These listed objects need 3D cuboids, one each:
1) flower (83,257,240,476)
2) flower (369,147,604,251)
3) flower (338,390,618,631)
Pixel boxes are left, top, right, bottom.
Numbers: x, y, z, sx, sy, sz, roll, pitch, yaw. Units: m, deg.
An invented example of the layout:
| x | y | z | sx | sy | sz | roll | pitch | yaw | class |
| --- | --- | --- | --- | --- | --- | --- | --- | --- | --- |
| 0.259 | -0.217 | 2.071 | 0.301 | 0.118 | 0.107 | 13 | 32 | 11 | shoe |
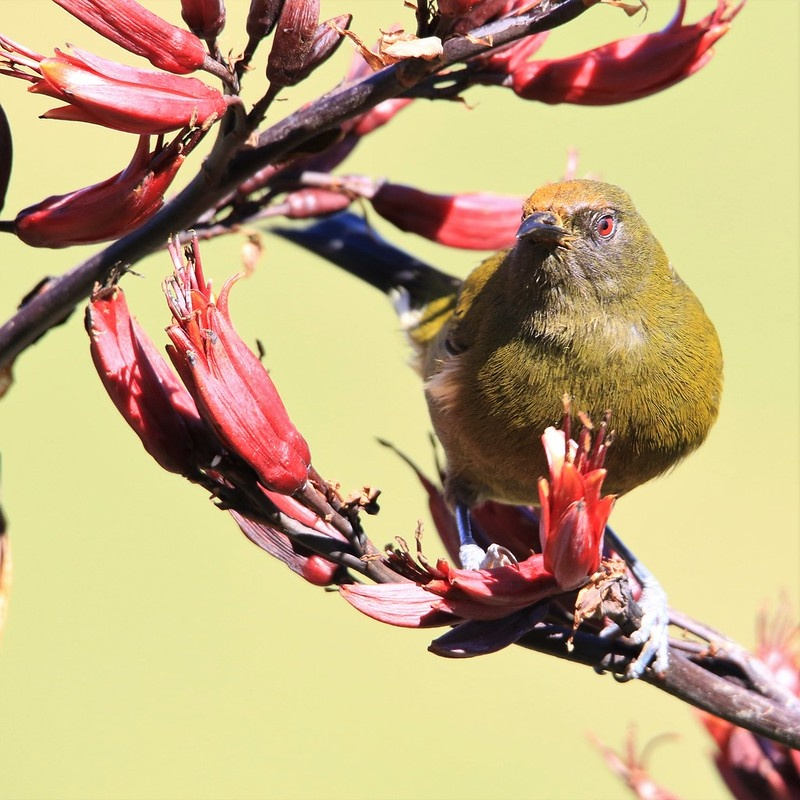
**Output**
| x | y | z | sx | sy | sz | roll | pitch | yaw | class |
| --- | --- | --- | --- | --- | --- | --- | --- | --- | --- |
| -0.272 | -0.035 | 1.297 | 0.281 | 0.091 | 0.114 | 48 | -53 | 4 | flower |
| 0.076 | -0.307 | 1.743 | 0.121 | 0.373 | 0.134 | 18 | -65 | 39 | flower |
| 0.126 | 0.177 | 1.278 | 0.302 | 0.168 | 0.169 | -36 | -78 | 24 | flower |
